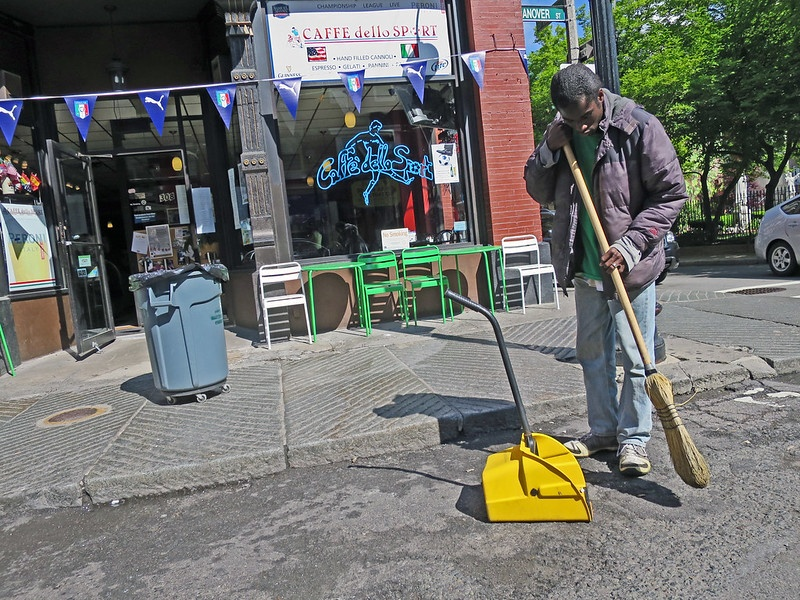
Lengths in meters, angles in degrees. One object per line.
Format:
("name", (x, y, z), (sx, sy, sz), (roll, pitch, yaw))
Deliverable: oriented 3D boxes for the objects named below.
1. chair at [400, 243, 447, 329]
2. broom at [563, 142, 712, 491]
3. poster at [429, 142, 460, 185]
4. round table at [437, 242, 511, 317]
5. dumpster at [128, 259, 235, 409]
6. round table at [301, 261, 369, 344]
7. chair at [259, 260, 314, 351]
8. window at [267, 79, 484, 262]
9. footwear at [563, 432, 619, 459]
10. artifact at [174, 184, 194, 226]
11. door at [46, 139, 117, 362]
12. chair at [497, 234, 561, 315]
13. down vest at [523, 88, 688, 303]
("chair", (0.294, -0.457, 9.553), (0.683, 1.224, 0.757), (-12, -34, 13))
("broom", (1.701, 0.134, 4.676), (0.276, 2.363, 1.022), (-11, 12, -31))
("poster", (0.640, -2.103, 10.008), (0.521, 0.795, 0.040), (-6, 5, -17))
("round table", (1.082, -0.278, 9.864), (0.890, 1.073, 0.984), (-7, 9, -10))
("dumpster", (-2.084, 0.265, 7.321), (1.255, 1.669, 1.218), (-12, 9, -40))
("round table", (-0.893, 0.008, 9.325), (0.957, 1.259, 1.050), (-3, 1, 0))
("chair", (-1.598, 0.049, 8.991), (0.666, 1.076, 0.699), (-7, 10, -10))
("window", (-0.496, -1.952, 9.628), (2.341, 2.141, 0.184), (-7, 4, -17))
("footwear", (1.486, 1.119, 5.179), (0.485, 0.241, 0.189), (0, 1, -7))
("artifact", (-3.568, -1.545, 10.818), (0.218, 0.678, 0.055), (3, 15, 9))
("door", (-4.775, -0.767, 9.809), (0.442, 3.096, 1.508), (-8, 10, -14))
("chair", (2.029, -0.267, 10.106), (0.541, 0.913, 0.552), (-5, 28, 5))
("down vest", (1.579, -0.820, 5.148), (1.262, 1.550, 0.846), (8, 18, 44))
